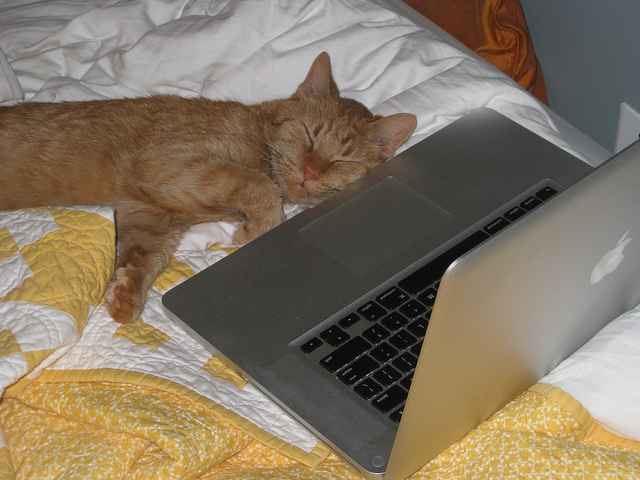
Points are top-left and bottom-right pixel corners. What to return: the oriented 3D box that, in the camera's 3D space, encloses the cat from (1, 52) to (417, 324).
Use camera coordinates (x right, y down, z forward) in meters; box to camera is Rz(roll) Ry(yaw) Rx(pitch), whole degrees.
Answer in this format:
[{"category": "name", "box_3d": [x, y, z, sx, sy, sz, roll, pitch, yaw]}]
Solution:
[{"category": "cat", "box_3d": [-0.328, -0.144, 1.627, 1.329, 0.330, 0.744, 3, 23, 8]}]
